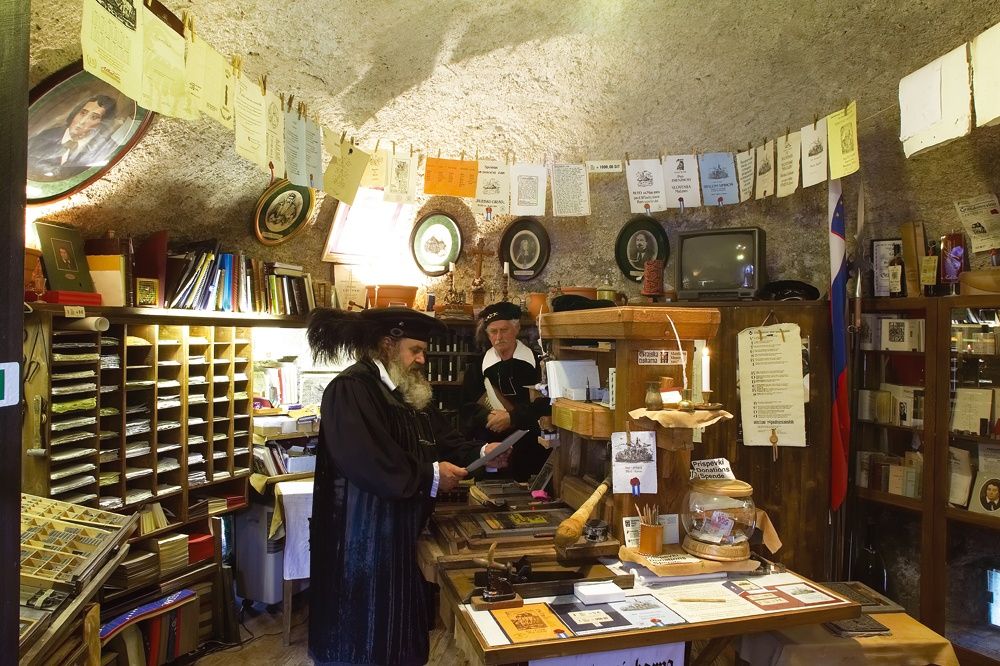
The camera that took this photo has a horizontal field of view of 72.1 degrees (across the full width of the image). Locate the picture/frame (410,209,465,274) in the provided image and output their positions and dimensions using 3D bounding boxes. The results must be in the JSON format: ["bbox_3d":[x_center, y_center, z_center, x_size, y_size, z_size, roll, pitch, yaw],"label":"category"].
[{"bbox_3d":[-0.617,-0.846,6.629,0.576,0.539,0.560,-14,6,-30],"label":"picture/frame"}]

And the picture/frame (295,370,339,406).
[{"bbox_3d":[-1.455,0.433,5.354,0.361,0.340,0.037,2,-1,-35],"label":"picture/frame"}]

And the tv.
[{"bbox_3d":[1.514,-0.492,4.981,0.622,0.484,0.388,-3,9,-4],"label":"tv"}]

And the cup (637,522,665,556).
[{"bbox_3d":[0.707,0.969,3.269,0.142,0.191,0.138,2,-6,0],"label":"cup"}]

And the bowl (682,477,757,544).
[{"bbox_3d":[1.070,0.881,3.413,0.373,0.285,0.361,3,2,0],"label":"bowl"}]

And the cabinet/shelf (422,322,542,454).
[{"bbox_3d":[-0.122,0.413,5.297,0.812,1.120,0.719,-7,-18,16],"label":"cabinet/shelf"}]

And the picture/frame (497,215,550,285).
[{"bbox_3d":[0.230,-0.746,6.173,0.688,0.732,0.106,1,-2,19],"label":"picture/frame"}]

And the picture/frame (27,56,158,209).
[{"bbox_3d":[-2.534,-1.217,4.113,0.845,0.173,0.782,-31,-21,-21],"label":"picture/frame"}]

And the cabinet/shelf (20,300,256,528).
[{"bbox_3d":[-2.652,0.616,4.989,0.541,1.472,1.650,-4,-4,22],"label":"cabinet/shelf"}]

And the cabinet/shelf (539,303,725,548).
[{"bbox_3d":[0.635,0.477,3.443,0.542,1.097,1.237,1,-2,-12],"label":"cabinet/shelf"}]

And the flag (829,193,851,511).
[{"bbox_3d":[2.275,0.079,4.609,0.151,2.011,0.110,-1,-1,-5],"label":"flag"}]

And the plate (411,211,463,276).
[{"bbox_3d":[-0.613,-0.844,6.692,0.583,0.544,0.559,-10,6,-4],"label":"plate"}]
